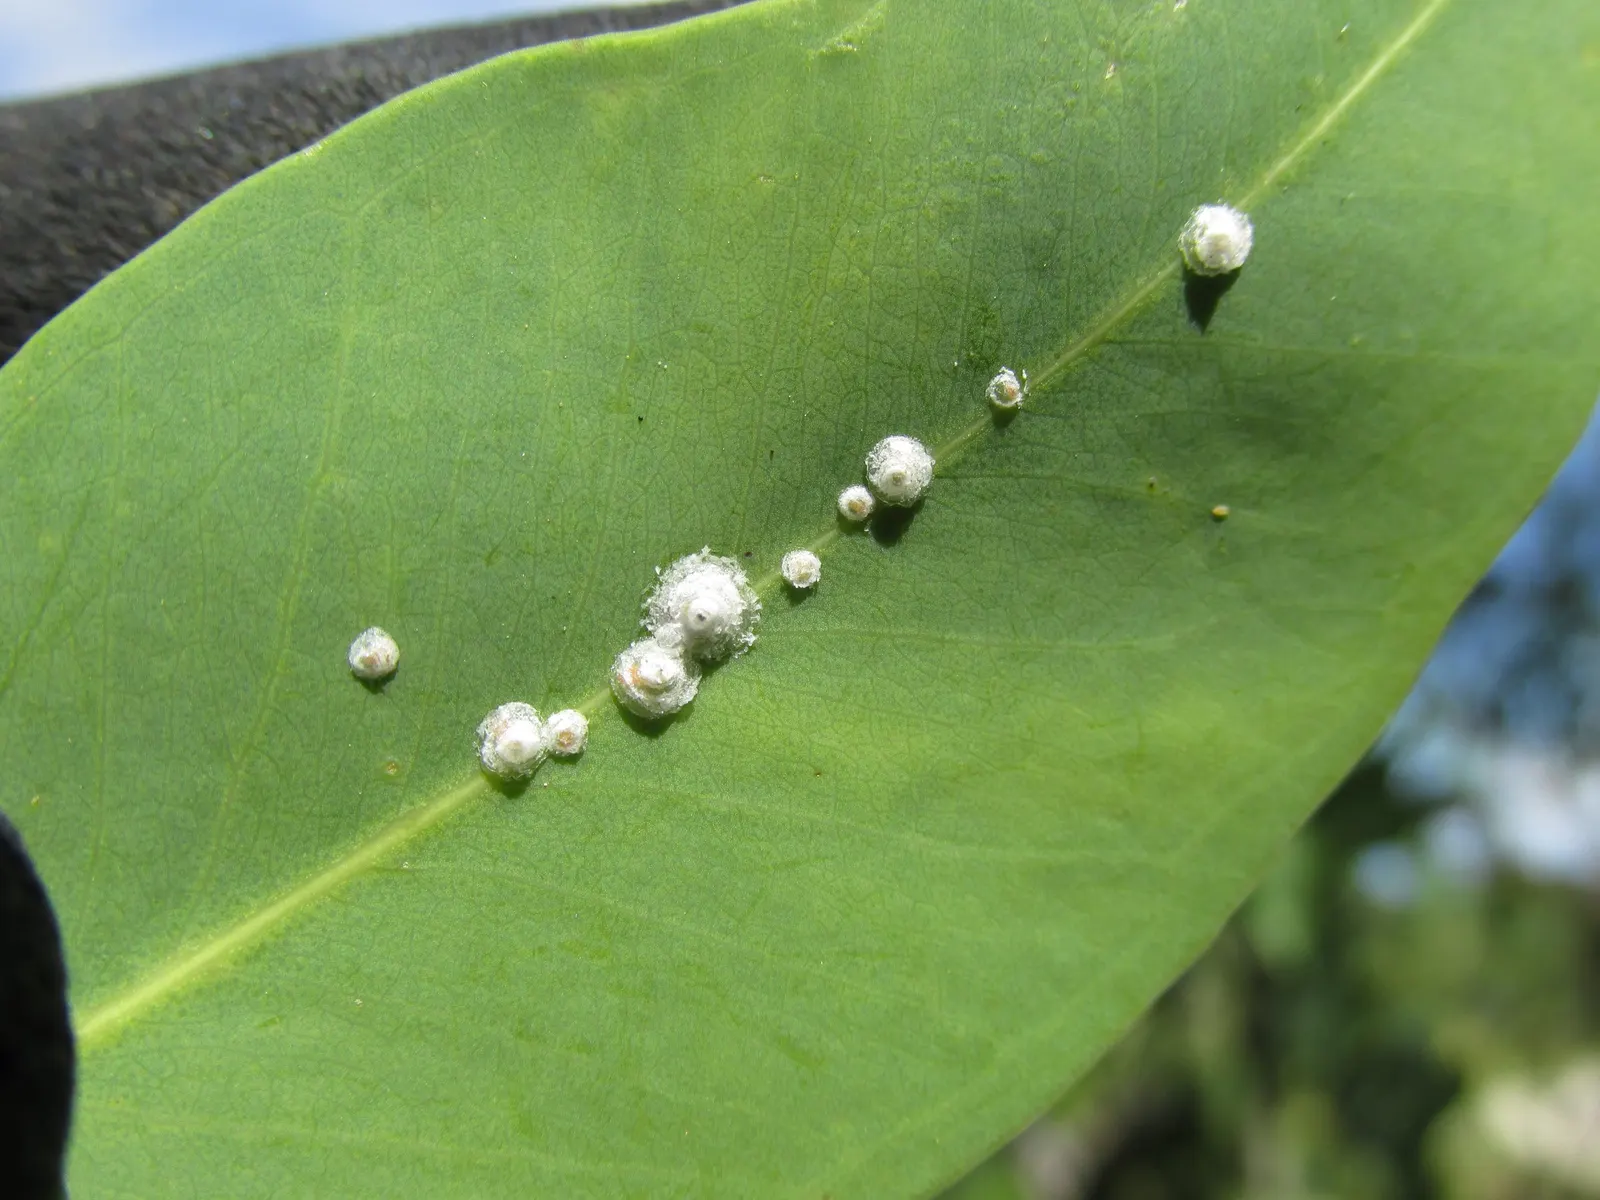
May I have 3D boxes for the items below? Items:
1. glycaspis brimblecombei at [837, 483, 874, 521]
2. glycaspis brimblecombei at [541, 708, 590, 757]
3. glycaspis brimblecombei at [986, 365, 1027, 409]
[{"bbox_3d":[0.274,-0.480,8.507,0.135,0.071,0.180,1,97,0],"label":"glycaspis brimblecombei"},{"bbox_3d":[-1.143,0.627,8.560,0.177,0.065,0.233,-8,91,-6],"label":"glycaspis brimblecombei"},{"bbox_3d":[1.011,-1.026,8.515,0.151,0.066,0.210,5,90,-4],"label":"glycaspis brimblecombei"}]
